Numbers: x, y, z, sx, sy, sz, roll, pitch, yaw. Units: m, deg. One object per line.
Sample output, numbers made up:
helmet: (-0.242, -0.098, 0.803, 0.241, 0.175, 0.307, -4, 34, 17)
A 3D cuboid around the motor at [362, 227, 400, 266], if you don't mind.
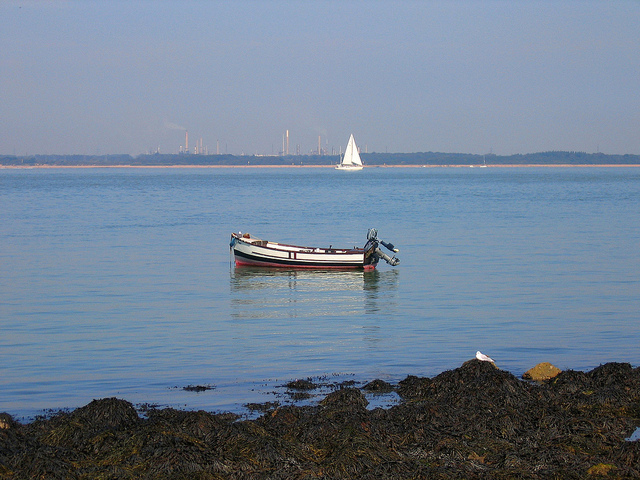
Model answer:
motor: (3.778, 0.455, 83.205, 2.386, 1.522, 1.912, 3, -18, -3)
